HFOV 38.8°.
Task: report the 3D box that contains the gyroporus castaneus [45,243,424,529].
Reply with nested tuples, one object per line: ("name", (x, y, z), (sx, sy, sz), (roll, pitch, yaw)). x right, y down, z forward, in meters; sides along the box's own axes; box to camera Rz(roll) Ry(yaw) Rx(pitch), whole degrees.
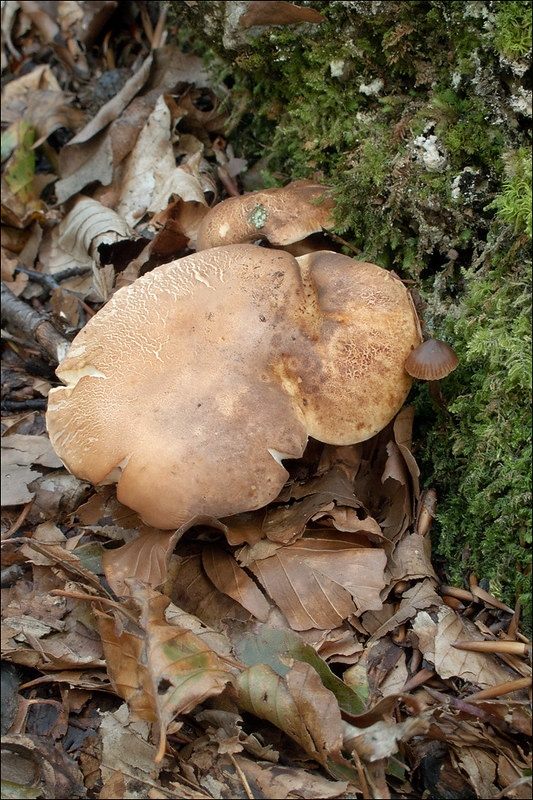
("gyroporus castaneus", (-0.148, -0.112, 2.926), (1.389, 0.309, 1.012), (-35, 81, -14))

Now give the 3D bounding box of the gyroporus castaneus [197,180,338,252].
("gyroporus castaneus", (-0.006, -0.802, 3.347), (0.599, 0.249, 0.320), (-7, 77, -8))

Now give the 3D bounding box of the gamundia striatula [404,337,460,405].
("gamundia striatula", (0.630, -0.119, 2.869), (0.192, 0.251, 0.159), (-20, 57, 7))
